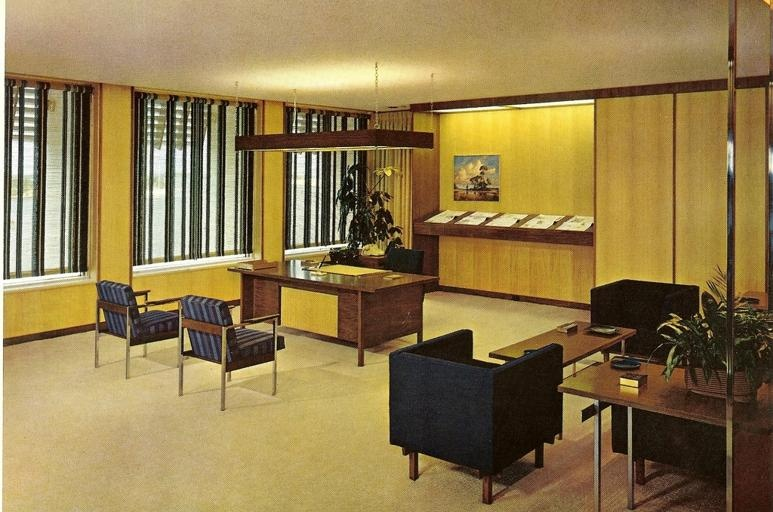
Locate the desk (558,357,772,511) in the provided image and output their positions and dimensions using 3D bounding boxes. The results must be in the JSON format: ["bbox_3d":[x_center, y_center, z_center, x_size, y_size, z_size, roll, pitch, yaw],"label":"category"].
[{"bbox_3d":[1.776,1.255,3.832,1.126,0.627,1.128,1,4,28],"label":"desk"}]

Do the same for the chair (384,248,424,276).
[{"bbox_3d":[0.246,0.080,8.335,0.364,0.479,0.433,2,-6,37],"label":"chair"}]

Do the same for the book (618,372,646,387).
[{"bbox_3d":[1.732,0.867,4.185,0.097,0.052,0.133,0,1,31],"label":"book"}]

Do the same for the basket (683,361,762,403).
[{"bbox_3d":[2.182,0.811,3.899,0.375,0.145,0.278,0,0,23],"label":"basket"}]

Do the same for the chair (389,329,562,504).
[{"bbox_3d":[0.652,1.034,4.747,1.167,1.176,1.242,3,6,40],"label":"chair"}]

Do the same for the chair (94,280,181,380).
[{"bbox_3d":[-2.914,0.717,6.814,0.875,1.057,1.629,-5,12,-26],"label":"chair"}]
